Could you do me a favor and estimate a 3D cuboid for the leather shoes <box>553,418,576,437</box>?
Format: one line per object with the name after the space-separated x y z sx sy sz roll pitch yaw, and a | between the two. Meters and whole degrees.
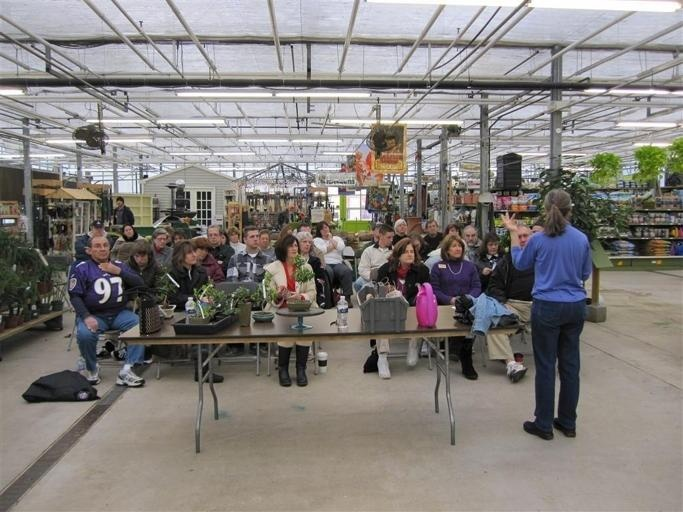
2.205 1.698 5.456 0.096 0.096 0.247 -2 11 -11 | leather shoes

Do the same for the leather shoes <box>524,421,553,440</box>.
1.915 1.709 5.368 0.114 0.104 0.276 -3 7 -42 | leather shoes

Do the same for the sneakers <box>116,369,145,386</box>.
-2.525 1.446 6.565 0.348 0.144 0.156 1 -3 20 | sneakers

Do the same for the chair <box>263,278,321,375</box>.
-0.566 0.639 6.436 0.652 1.693 0.621 -1 2 -16 | chair

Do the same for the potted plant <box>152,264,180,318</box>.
-1.972 0.395 6.110 0.291 0.440 0.240 3 11 19 | potted plant

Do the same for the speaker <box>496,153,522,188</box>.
4.292 -2.155 14.123 0.639 0.970 0.528 7 16 24 | speaker

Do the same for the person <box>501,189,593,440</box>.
2.061 0.573 5.557 0.898 2.297 0.845 2 -2 15 | person

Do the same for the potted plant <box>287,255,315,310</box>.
-0.494 0.250 6.245 0.403 0.494 0.173 -3 0 -13 | potted plant

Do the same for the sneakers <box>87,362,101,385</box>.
-2.993 1.424 6.614 0.125 0.136 0.312 1 -3 -17 | sneakers

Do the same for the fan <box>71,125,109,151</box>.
-5.927 -2.895 13.154 0.813 0.346 1.002 -4 -17 -10 | fan

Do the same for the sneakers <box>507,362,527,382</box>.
2.061 1.362 6.452 0.139 0.138 0.307 30 -13 -5 | sneakers
